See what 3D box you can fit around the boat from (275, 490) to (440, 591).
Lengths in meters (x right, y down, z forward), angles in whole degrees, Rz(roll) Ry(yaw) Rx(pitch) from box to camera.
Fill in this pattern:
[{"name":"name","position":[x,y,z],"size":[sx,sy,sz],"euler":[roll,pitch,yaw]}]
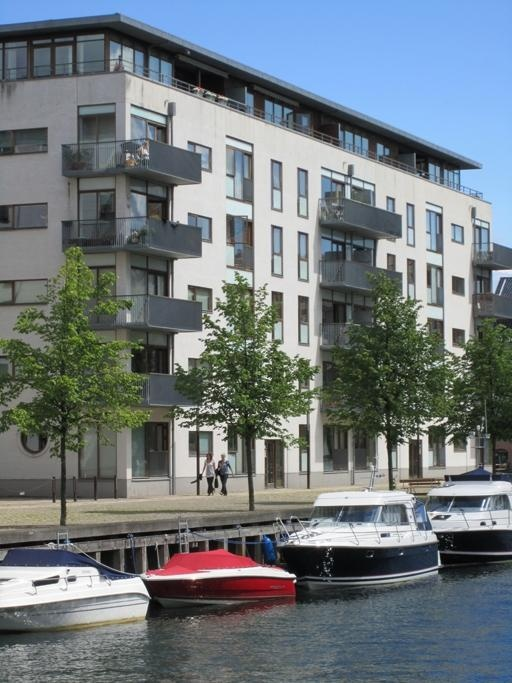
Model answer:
[{"name":"boat","position":[2.405,4.538,30.846],"size":[1.524,2.212,4.848],"euler":[-7,-12,34]}]

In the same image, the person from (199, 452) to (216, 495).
[{"name":"person","position":[-1.594,4.646,46.664],"size":[0.542,1.475,1.633],"euler":[0,-10,-2]}]

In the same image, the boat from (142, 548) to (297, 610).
[{"name":"boat","position":[-0.857,4.954,27.734],"size":[2.331,0.876,1.232],"euler":[8,-11,-35]}]
